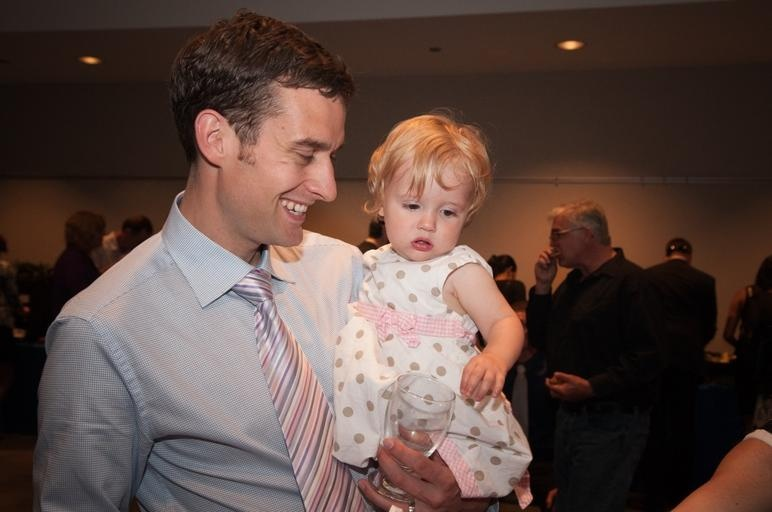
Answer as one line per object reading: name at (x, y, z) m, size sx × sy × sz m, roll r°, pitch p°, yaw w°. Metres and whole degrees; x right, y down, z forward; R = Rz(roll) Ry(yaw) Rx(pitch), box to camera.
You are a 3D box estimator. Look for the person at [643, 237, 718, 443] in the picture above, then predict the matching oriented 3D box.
person at (1.437, 0.393, 3.275) m, size 0.329 × 0.903 × 0.099 m, roll 5°, pitch 0°, yaw -9°
